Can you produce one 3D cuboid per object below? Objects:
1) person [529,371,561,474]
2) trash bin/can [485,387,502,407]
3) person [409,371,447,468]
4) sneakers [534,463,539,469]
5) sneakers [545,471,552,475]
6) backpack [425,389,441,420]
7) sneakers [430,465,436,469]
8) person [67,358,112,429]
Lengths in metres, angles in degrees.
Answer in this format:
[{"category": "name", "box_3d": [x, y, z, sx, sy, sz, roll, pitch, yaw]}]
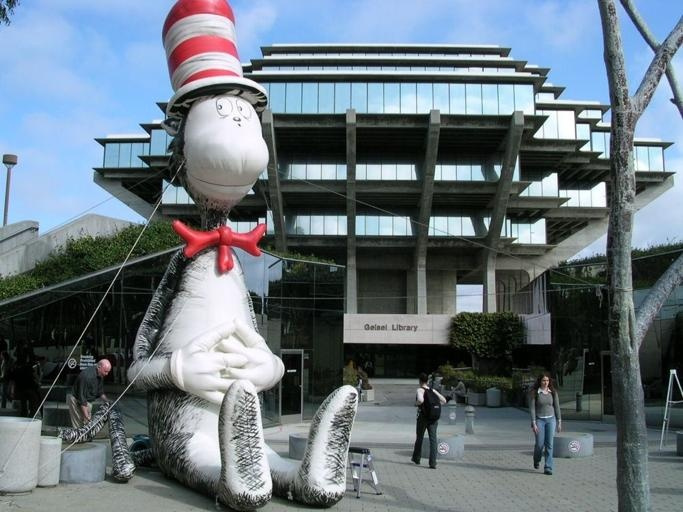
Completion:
[{"category": "person", "box_3d": [3.862, 3.175, 14.281, 0.505, 1.879, 1.009, -2, -13, 14]}, {"category": "trash bin/can", "box_3d": [5.351, 5.012, 26.584, 0.515, 0.859, 0.553, -1, -5, 12]}, {"category": "person", "box_3d": [1.684, 3.240, 14.786, 0.631, 1.802, 1.571, 0, -13, 5]}, {"category": "sneakers", "box_3d": [3.732, 4.024, 14.439, 0.065, 0.081, 0.190, 2, 5, 8]}, {"category": "sneakers", "box_3d": [3.851, 4.043, 14.037, 0.161, 0.073, 0.100, 0, -14, 5]}, {"category": "backpack", "box_3d": [1.709, 2.829, 14.245, 0.359, 0.606, 0.297, 3, -13, -7]}, {"category": "sneakers", "box_3d": [1.747, 4.036, 14.387, 0.145, 0.063, 0.112, 1, -14, 0]}, {"category": "person", "box_3d": [-4.524, 2.469, 13.537, 0.589, 1.227, 1.284, 6, -14, -22]}]
